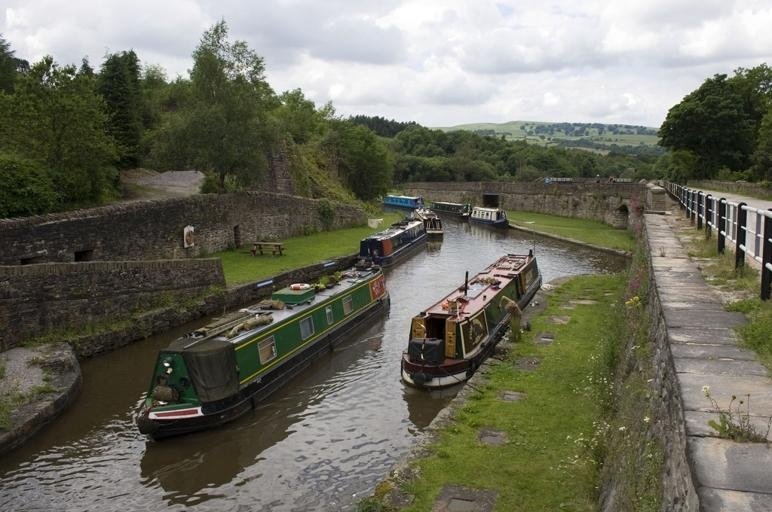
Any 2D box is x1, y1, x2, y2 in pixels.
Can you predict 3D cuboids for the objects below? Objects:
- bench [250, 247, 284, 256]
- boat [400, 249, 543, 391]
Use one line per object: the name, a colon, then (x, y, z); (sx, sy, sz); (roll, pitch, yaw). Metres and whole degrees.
bench: (-7.366, -0.348, 34.882); (2.091, 0.561, 1.542); (-4, 8, -3)
boat: (4.235, 1.680, 22.497); (2.333, 2.488, 10.955); (9, 25, 29)
